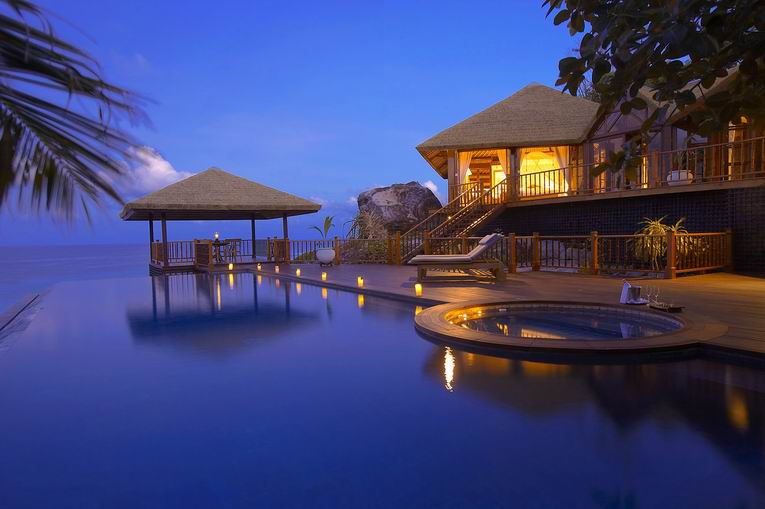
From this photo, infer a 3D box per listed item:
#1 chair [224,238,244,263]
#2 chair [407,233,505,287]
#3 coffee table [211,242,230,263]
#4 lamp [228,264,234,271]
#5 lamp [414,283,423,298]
[{"bbox_3d":[-6.207,-0.161,22.524,0.916,1.193,0.848,-1,3,-24],"label":"chair"},{"bbox_3d":[1.830,0.200,12.604,2.083,1.076,1.303,1,1,3],"label":"chair"},{"bbox_3d":[-6.516,-0.109,21.888,0.753,0.754,0.764,-1,1,-18],"label":"coffee table"},{"bbox_3d":[-5.447,0.459,19.573,0.255,0.298,0.257,-3,4,-23],"label":"lamp"},{"bbox_3d":[0.696,0.700,10.463,0.197,0.329,0.201,-1,3,3],"label":"lamp"}]
